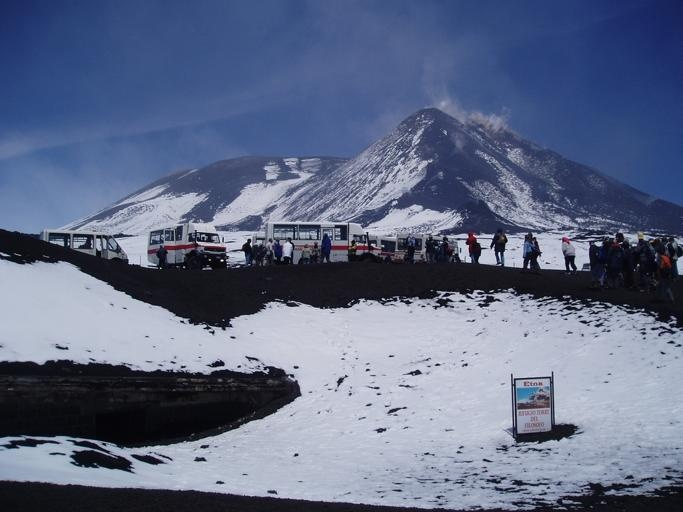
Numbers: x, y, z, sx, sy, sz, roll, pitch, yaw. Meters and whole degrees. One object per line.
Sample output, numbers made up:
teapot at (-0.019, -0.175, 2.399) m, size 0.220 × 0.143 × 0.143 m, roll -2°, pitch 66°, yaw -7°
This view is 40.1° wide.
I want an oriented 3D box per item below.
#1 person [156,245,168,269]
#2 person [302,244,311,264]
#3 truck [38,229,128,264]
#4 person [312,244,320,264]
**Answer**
person at (-9.660, 0.030, 50.419) m, size 0.509 × 1.349 × 1.898 m, roll -1°, pitch -9°, yaw -11°
person at (-1.882, -0.132, 50.084) m, size 0.500 × 1.179 × 1.699 m, roll -2°, pitch -9°, yaw -2°
truck at (-13.290, -0.241, 50.045) m, size 4.486 × 2.246 × 2.159 m, roll 0°, pitch -10°, yaw 7°
person at (-1.391, -0.175, 49.446) m, size 0.369 × 1.162 × 1.090 m, roll -4°, pitch -9°, yaw 7°
